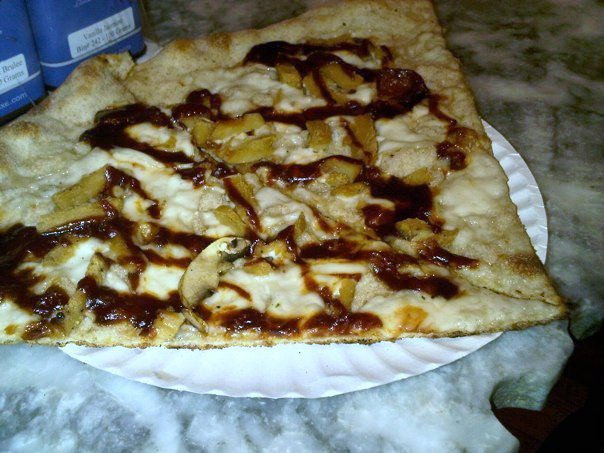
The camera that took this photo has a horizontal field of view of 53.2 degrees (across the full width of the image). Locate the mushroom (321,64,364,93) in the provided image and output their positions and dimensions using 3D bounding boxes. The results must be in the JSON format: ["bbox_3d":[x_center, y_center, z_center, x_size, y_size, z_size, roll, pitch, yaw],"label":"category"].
[{"bbox_3d":[0.168,-0.714,2.886,0.171,0.036,0.178,12,5,-34],"label":"mushroom"}]

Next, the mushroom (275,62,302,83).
[{"bbox_3d":[-0.065,-0.726,2.825,0.112,0.031,0.116,-9,55,-7],"label":"mushroom"}]

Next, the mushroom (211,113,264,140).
[{"bbox_3d":[-0.262,-0.446,2.658,0.093,0.140,0.358,-18,19,-37],"label":"mushroom"}]

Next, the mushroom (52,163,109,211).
[{"bbox_3d":[-0.853,-0.146,2.408,0.238,0.059,0.105,-27,73,-20],"label":"mushroom"}]
